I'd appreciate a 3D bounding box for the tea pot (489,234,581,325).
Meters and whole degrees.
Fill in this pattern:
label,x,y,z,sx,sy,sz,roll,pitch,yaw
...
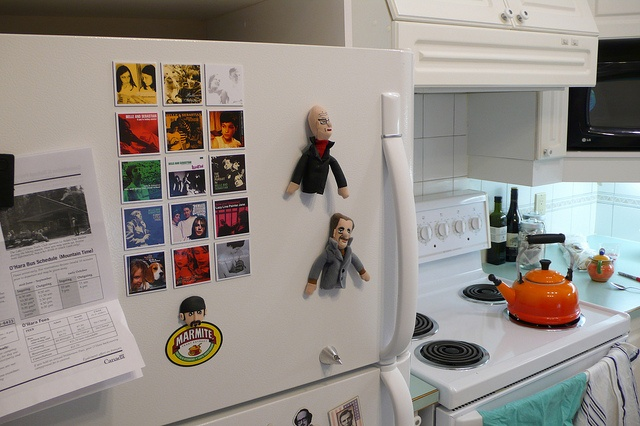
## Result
label,x,y,z,sx,sy,sz,roll,pitch,yaw
tea pot,0.912,0.253,1.906,0.400,0.359,0.277,-4,6,-27

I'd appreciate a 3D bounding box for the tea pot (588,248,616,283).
label,x,y,z,sx,sy,sz,roll,pitch,yaw
tea pot,1.358,0.257,2.247,0.120,0.157,0.139,-1,5,0
